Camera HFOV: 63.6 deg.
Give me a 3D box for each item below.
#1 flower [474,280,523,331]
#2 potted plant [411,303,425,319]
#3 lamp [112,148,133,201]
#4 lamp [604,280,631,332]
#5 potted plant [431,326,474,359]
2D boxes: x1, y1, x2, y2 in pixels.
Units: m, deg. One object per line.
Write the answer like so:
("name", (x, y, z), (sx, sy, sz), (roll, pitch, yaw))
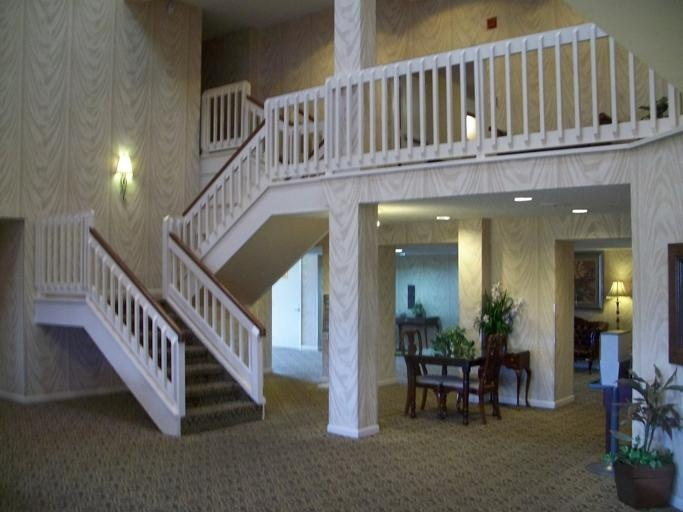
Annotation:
("flower", (2.561, 0.866, 9.093), (0.617, 1.036, 0.754), (1, -5, 34))
("potted plant", (1.898, 1.337, 13.676), (0.272, 0.412, 0.302), (-6, 8, -28))
("lamp", (-3.797, -1.439, 9.559), (0.329, 0.935, 0.170), (0, 1, -29))
("lamp", (5.851, 1.006, 11.689), (0.493, 1.024, 0.207), (1, 1, 38))
("potted plant", (1.657, 1.300, 8.148), (0.438, 0.400, 0.406), (6, 7, 43))
